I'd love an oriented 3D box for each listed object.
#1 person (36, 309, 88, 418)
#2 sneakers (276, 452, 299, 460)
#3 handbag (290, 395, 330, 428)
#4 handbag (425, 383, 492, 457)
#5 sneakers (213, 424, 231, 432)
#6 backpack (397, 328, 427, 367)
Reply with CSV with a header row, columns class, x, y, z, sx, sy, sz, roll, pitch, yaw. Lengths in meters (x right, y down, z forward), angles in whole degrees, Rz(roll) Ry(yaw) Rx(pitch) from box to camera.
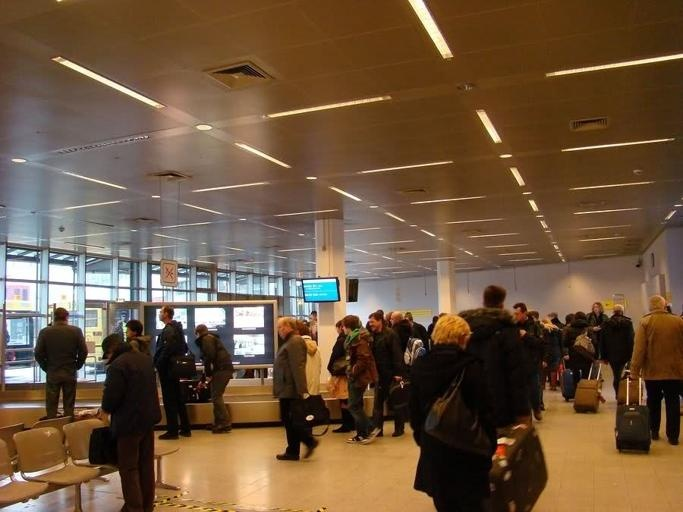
class,x,y,z,sx,sy,sz,roll,pitch,yaw
person,-5.023,1.919,9.957,0.810,1.942,0.355,3,-8,-29
sneakers,-0.751,2.838,7.870,0.323,0.125,0.120,5,-12,10
handbag,-0.432,2.009,7.408,0.463,0.472,0.191,-9,30,-1
handbag,0.861,1.196,4.025,0.400,0.496,0.166,23,-40,-7
sneakers,-2.133,3.108,9.950,0.324,0.146,0.118,10,-13,-11
backpack,1.294,1.845,10.073,0.353,0.630,0.634,14,-42,-12
